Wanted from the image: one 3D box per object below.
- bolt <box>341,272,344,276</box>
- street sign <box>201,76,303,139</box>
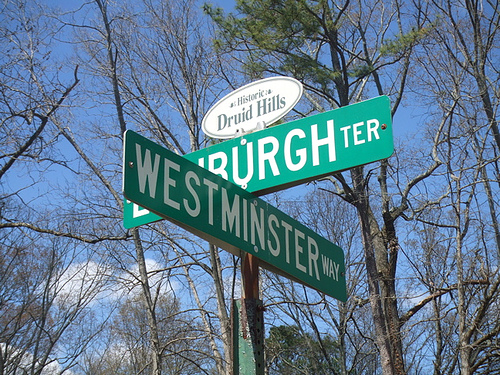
[{"bbox_3d":[1.606,1.507,12.316,0.054,0.065,0.014,-2,-1,-15],"label":"bolt"},{"bbox_3d":[0.059,-1.451,12.626,1.224,1.663,1.658,4,-10,-30],"label":"street sign"}]
